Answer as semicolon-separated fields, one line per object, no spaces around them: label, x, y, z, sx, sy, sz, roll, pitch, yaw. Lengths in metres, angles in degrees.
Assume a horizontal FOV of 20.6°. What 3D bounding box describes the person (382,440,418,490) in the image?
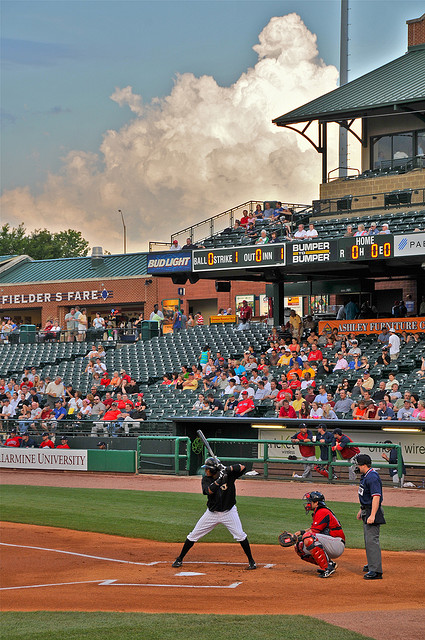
person;3.612;2.808;22.434;0.633;0.848;0.784;0;-1;5

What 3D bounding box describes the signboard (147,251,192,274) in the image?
signboard;-1.168;-1.626;33.387;1.745;0.574;0.316;-2;-2;43

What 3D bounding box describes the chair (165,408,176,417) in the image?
chair;-1.006;2.321;29.254;0.222;0.208;0.176;-4;-5;3

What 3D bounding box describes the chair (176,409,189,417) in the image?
chair;-0.702;2.310;28.832;0.187;0.196;0.178;3;-3;5

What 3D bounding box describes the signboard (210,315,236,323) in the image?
signboard;0.389;-0.002;38.492;0.489;0.250;1.605;1;-2;-17

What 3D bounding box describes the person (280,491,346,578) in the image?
person;1.234;2.630;14.229;0.765;1.012;0.396;1;-1;-39

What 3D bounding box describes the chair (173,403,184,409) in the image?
chair;-0.814;2.192;29.619;0.223;0.117;0.154;-3;-14;5

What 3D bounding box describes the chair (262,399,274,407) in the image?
chair;1.309;1.927;26.933;0.258;0.174;0.142;0;-1;1

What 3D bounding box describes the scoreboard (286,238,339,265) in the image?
scoreboard;2.567;-1.738;29.798;0.349;0.595;1.828;1;-2;-33

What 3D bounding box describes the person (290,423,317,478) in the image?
person;1.879;2.694;23.894;0.505;1.110;0.632;0;-1;0

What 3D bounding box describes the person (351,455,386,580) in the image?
person;1.907;2.377;14.130;0.338;1.491;0.516;0;-1;8
